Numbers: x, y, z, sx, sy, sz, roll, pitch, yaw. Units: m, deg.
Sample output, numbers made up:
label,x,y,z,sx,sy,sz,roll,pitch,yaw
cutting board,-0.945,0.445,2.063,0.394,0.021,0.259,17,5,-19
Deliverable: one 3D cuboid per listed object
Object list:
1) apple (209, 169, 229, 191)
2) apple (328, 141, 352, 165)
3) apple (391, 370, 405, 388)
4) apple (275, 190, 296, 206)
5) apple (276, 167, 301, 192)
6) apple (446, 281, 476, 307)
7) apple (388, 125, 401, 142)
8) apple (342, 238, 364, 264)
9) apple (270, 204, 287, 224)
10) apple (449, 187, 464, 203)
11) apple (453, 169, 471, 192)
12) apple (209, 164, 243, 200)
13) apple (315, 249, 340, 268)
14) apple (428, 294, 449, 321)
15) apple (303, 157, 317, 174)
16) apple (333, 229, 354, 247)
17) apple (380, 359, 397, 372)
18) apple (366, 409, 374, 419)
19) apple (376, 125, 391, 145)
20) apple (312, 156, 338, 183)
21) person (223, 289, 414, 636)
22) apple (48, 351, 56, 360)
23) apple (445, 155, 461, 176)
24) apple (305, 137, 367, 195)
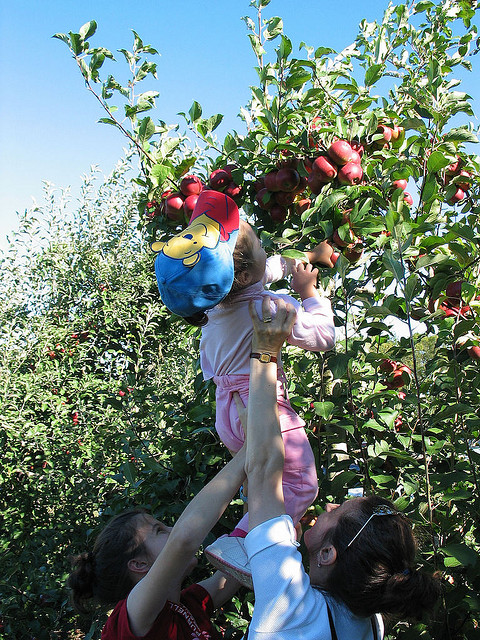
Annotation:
label,x,y,z,sx,sy,sz,roll,pitch,yaw
apple,-0.080,-0.515,1.993,0.079,0.077,0.073,-9,7,-27
apple,0.326,-0.556,1.770,0.076,0.080,0.044,-5,-9,7
apple,0.576,0.218,1.998,0.045,0.065,0.049,-2,-9,-12
apple,0.162,-0.432,1.954,0.056,0.047,0.051,-11,-20,17
apple,0.166,-0.492,1.880,0.074,0.074,0.078,-7,-9,20
apple,0.718,-0.094,1.824,0.089,0.086,0.037,-2,-14,24
apple,0.578,-0.699,2.023,0.058,0.052,0.060,3,-51,13
apple,0.388,-0.232,1.870,0.076,0.080,0.061,-2,-50,28
apple,0.136,-0.386,1.967,0.065,0.060,0.057,-16,4,-16
apple,0.795,-0.465,2.002,0.050,0.039,0.042,31,38,26
apple,0.841,-0.532,2.059,0.058,0.074,0.069,-7,-9,19
apple,-0.058,-0.508,1.997,0.161,0.135,0.060,0,6,8
apple,0.299,-0.204,1.801,0.072,0.061,0.027,14,-16,1
apple,0.652,-0.043,1.786,0.036,0.080,0.089,10,-2,19
apple,0.243,-0.534,1.866,0.044,0.030,0.048,-1,2,23
apple,0.338,-0.273,1.788,0.065,0.049,0.090,-3,-9,1
apple,0.538,0.167,1.972,0.062,0.043,0.088,-5,-9,14
apple,0.465,0.336,1.932,0.020,0.033,0.039,-10,-11,37
apple,0.522,-0.678,1.956,0.073,0.071,0.068,0,0,13
apple,0.268,-0.504,1.829,0.090,0.079,0.082,-17,-34,-8
person,0.190,0.305,1.179,0.313,0.731,0.312,-6,-9,14
apple,-1.684,0.320,4.836,0.074,0.078,0.045,3,8,-2
apple,0.803,-0.586,2.046,0.060,0.059,0.048,3,-14,25
apple,0.319,-0.520,1.879,0.114,0.156,0.217,29,-3,-6
